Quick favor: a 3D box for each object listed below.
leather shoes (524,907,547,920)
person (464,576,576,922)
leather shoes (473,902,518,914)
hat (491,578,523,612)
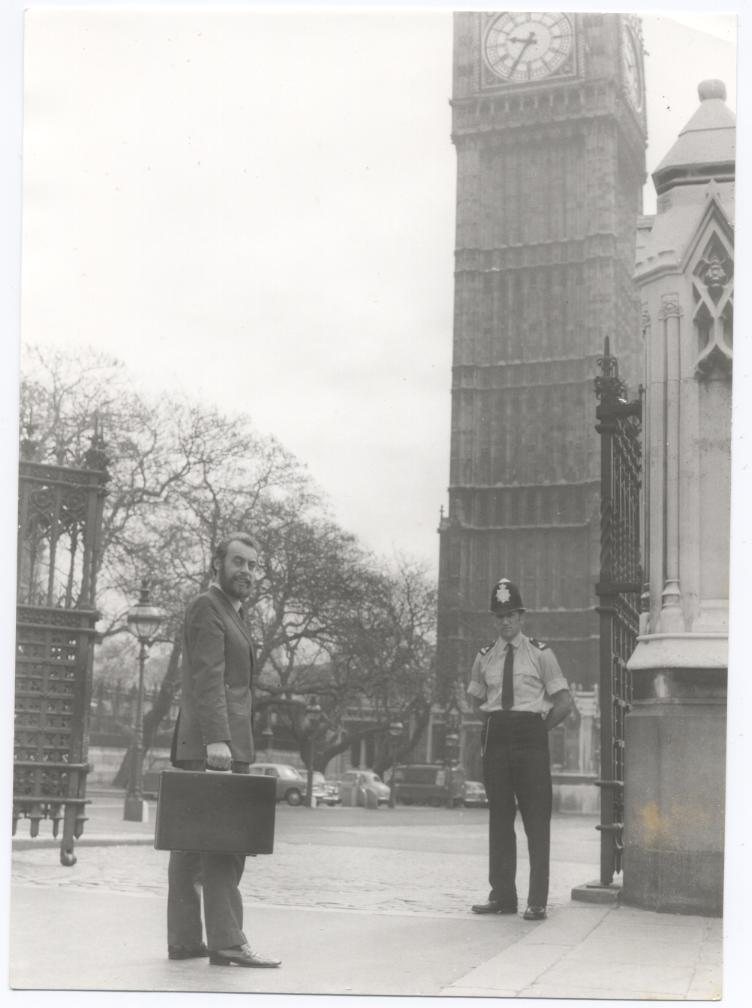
[{"bbox_3d":[0.776,1.992,7.699,0.119,0.051,0.099,1,-8,-8],"label":"leather shoes"},{"bbox_3d":[0.711,1.225,8.167,0.685,1.726,0.539,-6,-9,44],"label":"person"},{"bbox_3d":[0.594,2.042,8.001,0.225,0.060,0.164,-1,-8,6],"label":"leather shoes"},{"bbox_3d":[0.688,0.514,8.372,0.109,0.134,0.181,-1,-28,9],"label":"hat"}]
